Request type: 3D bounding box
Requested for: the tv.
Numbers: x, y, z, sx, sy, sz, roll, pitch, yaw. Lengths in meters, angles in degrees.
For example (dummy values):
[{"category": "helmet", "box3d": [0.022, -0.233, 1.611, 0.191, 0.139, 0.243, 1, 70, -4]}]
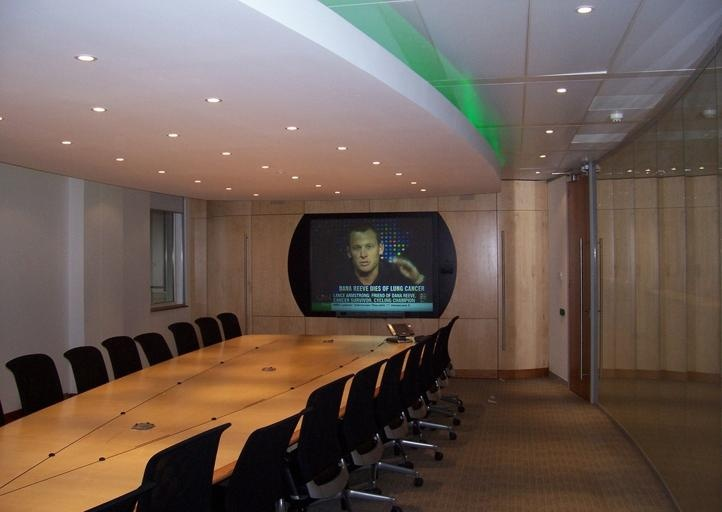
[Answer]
[{"category": "tv", "box3d": [0.306, 0.154, 10.470, 1.906, 1.633, 0.083, 0, -2, 7]}]
